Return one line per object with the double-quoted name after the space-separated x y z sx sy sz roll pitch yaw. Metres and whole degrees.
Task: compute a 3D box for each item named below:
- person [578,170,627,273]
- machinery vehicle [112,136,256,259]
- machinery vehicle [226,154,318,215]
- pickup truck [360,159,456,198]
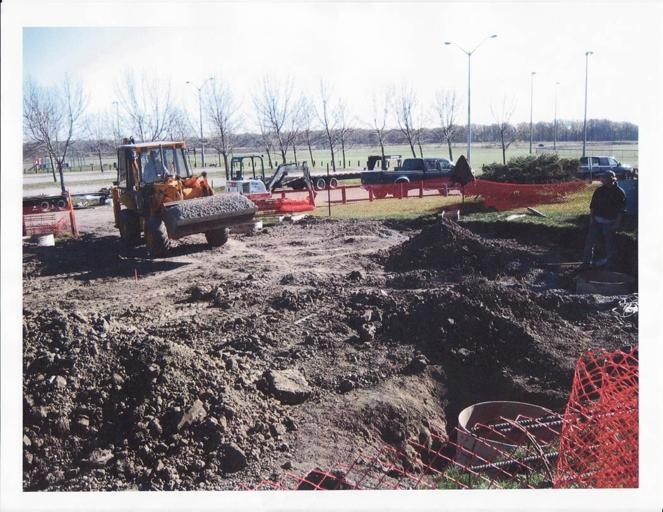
5.065 -0.682 10.630 0.679 1.885 1.321 0 13 27 "person"
-3.358 -1.412 12.756 1.894 2.399 3.429 -15 25 -38 "machinery vehicle"
-1.752 -1.965 17.381 2.744 1.585 2.089 -10 21 -31 "machinery vehicle"
2.691 -2.844 20.119 3.120 1.017 3.974 -4 13 12 "pickup truck"
